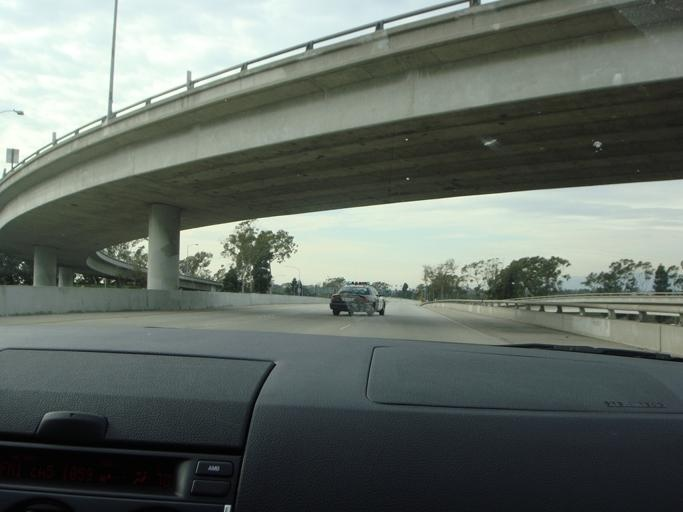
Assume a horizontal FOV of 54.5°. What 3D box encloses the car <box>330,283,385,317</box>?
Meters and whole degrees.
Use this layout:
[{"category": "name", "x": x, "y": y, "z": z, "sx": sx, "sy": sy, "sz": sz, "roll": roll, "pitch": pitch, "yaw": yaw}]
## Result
[{"category": "car", "x": 0.640, "y": 1.657, "z": 25.035, "sx": 1.072, "sy": 0.873, "sz": 2.543, "roll": 1, "pitch": -1, "yaw": 14}]
